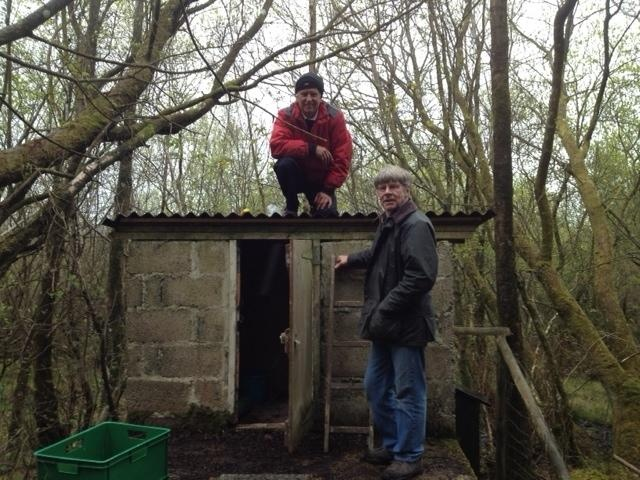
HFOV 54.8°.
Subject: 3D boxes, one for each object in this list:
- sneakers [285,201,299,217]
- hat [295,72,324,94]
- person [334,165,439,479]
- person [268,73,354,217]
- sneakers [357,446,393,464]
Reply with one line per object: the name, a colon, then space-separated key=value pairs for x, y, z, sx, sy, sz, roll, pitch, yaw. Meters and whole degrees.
sneakers: x=-0.409 y=-0.440 z=9.018 sx=0.160 sy=0.270 sz=0.066 roll=0 pitch=-3 yaw=-11
hat: x=-0.150 y=-2.233 z=8.753 sx=0.402 sy=0.322 sz=0.300 roll=-2 pitch=-9 yaw=-3
person: x=0.894 y=0.966 z=7.295 sx=0.627 sy=3.621 sz=1.138 roll=4 pitch=-10 yaw=-36
person: x=-0.141 y=-1.295 z=9.088 sx=0.938 sy=1.987 sz=0.968 roll=-9 pitch=-11 yaw=43
sneakers: x=0.702 y=2.665 z=7.669 sx=0.428 sy=0.213 sz=0.167 roll=4 pitch=0 yaw=9
